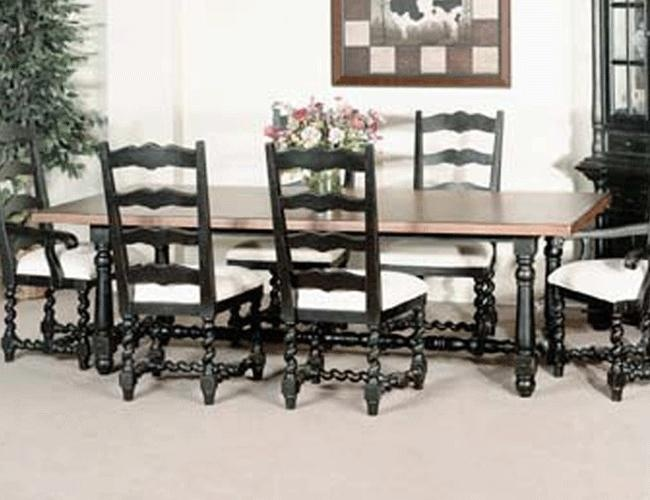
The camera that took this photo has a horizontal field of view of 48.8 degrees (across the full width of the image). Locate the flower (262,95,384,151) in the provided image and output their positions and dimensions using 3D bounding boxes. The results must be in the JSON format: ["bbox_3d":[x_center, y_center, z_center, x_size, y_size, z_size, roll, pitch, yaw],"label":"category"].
[{"bbox_3d":[-0.044,-0.465,2.729,0.333,0.163,0.403,-5,10,-35],"label":"flower"}]
